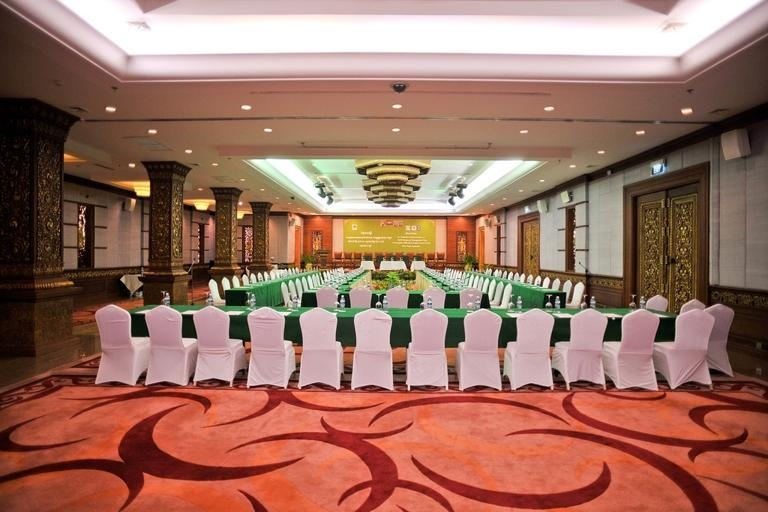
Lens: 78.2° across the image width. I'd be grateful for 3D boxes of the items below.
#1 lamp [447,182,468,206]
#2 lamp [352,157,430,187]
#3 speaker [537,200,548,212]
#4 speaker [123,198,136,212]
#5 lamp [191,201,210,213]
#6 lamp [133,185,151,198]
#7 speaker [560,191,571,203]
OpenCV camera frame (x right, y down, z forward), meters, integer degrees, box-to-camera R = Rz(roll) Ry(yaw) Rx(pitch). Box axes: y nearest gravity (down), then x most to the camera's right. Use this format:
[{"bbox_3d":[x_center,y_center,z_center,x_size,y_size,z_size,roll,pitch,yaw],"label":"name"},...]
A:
[{"bbox_3d":[2.976,-2.523,18.711,0.509,0.515,1.598,-18,-8,-2],"label":"lamp"},{"bbox_3d":[0.255,-2.375,13.204,1.983,0.447,1.637,0,-2,-2],"label":"lamp"},{"bbox_3d":[5.222,-1.635,15.517,0.264,0.439,0.487,2,-5,-11],"label":"speaker"},{"bbox_3d":[-8.242,-1.651,15.335,0.353,0.442,0.525,0,-2,-24],"label":"speaker"},{"bbox_3d":[-7.196,-1.939,18.824,0.450,0.196,0.437,3,-4,-42],"label":"lamp"},{"bbox_3d":[-7.597,-2.021,14.830,0.409,0.378,1.003,0,-2,-29],"label":"lamp"},{"bbox_3d":[5.283,-1.687,13.686,0.153,0.378,0.461,0,-2,-6],"label":"speaker"}]
